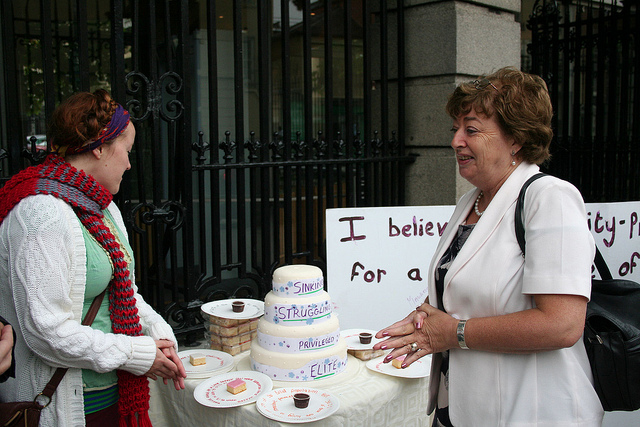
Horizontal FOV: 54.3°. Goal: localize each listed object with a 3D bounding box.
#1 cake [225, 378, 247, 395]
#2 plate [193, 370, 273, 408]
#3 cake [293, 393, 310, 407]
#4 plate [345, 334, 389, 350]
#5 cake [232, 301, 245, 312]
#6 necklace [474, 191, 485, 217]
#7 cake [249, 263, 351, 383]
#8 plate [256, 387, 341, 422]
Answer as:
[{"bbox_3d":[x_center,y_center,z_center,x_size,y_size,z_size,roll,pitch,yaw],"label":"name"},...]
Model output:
[{"bbox_3d":[-0.580,1.197,4.317,0.153,0.070,0.103,-2,9,-13],"label":"cake"},{"bbox_3d":[-0.590,1.207,4.335,0.558,0.075,0.597,-5,10,-17],"label":"plate"},{"bbox_3d":[-0.123,1.253,4.212,0.106,0.063,0.122,-1,9,-3],"label":"cake"},{"bbox_3d":[0.312,1.011,4.840,0.235,0.046,0.289,-4,1,-43],"label":"plate"},{"bbox_3d":[-0.652,0.742,4.968,0.090,0.065,0.105,-2,9,-9],"label":"cake"},{"bbox_3d":[1.018,-0.055,3.990,0.021,0.120,0.071,8,6,24],"label":"necklace"},{"bbox_3d":[-0.166,0.770,4.681,0.742,0.788,0.767,10,15,44],"label":"cake"},{"bbox_3d":[-0.148,1.280,4.189,0.550,0.111,0.288,0,9,2],"label":"plate"}]
